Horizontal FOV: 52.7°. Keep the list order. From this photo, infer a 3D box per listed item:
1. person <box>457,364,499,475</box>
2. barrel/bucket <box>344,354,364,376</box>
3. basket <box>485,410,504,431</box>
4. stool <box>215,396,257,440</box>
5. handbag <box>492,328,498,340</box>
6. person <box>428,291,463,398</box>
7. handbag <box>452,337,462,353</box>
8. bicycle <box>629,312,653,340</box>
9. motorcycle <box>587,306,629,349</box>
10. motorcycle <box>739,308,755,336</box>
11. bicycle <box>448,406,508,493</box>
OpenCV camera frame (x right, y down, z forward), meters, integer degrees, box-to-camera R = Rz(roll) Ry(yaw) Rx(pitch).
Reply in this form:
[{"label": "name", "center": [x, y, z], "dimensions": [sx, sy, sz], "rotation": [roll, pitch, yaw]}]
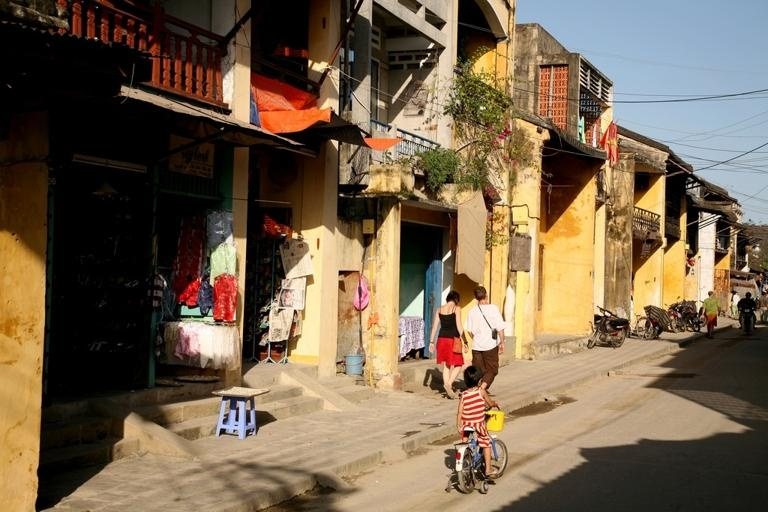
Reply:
[{"label": "person", "center": [1.453, 2.582, 12.024], "dimensions": [0.756, 1.722, 0.446], "rotation": [5, -8, -43]}, {"label": "barrel/bucket", "center": [-0.678, 2.532, 17.905], "dimensions": [0.415, 0.389, 0.410], "rotation": [-3, -5, 0]}, {"label": "basket", "center": [1.712, 2.573, 12.133], "dimensions": [0.344, 0.311, 0.277], "rotation": [-2, -5, 21]}, {"label": "stool", "center": [-2.682, 2.867, 13.993], "dimensions": [0.684, 0.840, 0.725], "rotation": [4, 4, 22]}, {"label": "handbag", "center": [2.160, 1.536, 15.113], "dimensions": [0.155, 0.284, 0.164], "rotation": [2, -3, 8]}, {"label": "person", "center": [1.418, 1.962, 17.178], "dimensions": [0.669, 2.381, 1.176], "rotation": [-1, -6, 5]}, {"label": "handbag", "center": [1.579, 1.940, 16.841], "dimensions": [0.320, 0.354, 0.121], "rotation": [1, -5, -18]}, {"label": "bicycle", "center": [10.034, 2.783, 29.886], "dimensions": [0.687, 0.842, 0.602], "rotation": [0, -6, -1]}, {"label": "motorcycle", "center": [7.920, 2.538, 27.424], "dimensions": [1.364, 1.415, 1.820], "rotation": [-2, -7, 15]}, {"label": "motorcycle", "center": [15.867, 2.915, 33.828], "dimensions": [0.528, 1.041, 1.357], "rotation": [-3, -7, 22]}, {"label": "bicycle", "center": [1.545, 3.101, 12.037], "dimensions": [0.621, 1.030, 1.447], "rotation": [0, 5, 31]}]
